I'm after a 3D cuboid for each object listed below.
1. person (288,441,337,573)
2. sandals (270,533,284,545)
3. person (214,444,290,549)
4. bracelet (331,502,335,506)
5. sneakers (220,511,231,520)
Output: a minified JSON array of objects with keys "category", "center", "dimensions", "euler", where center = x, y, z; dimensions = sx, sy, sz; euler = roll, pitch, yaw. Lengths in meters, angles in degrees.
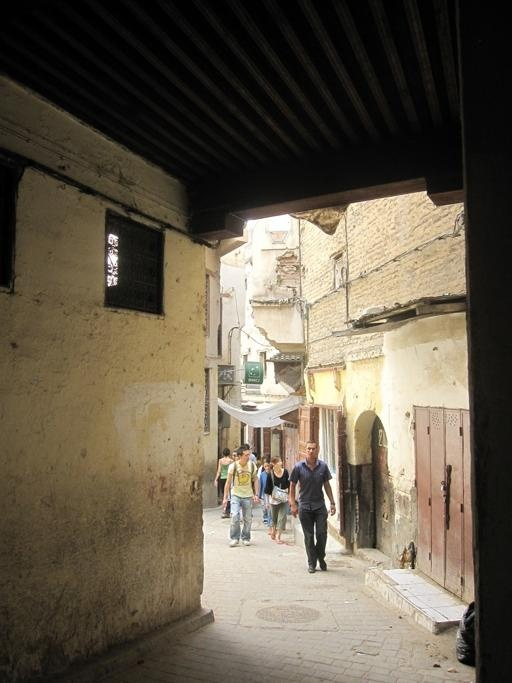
[{"category":"person","center":[0.825,2.451,8.817],"dimensions":[0.668,1.846,0.698],"euler":[1,-8,6]},{"category":"sandals","center":[0.409,3.812,11.375],"dimensions":[0.098,0.180,0.370],"euler":[3,-26,-11]},{"category":"person","center":[-0.265,2.861,11.019],"dimensions":[0.627,1.826,1.015],"euler":[2,-9,-1]},{"category":"bracelet","center":[1.145,2.433,8.843],"dimensions":[0.049,0.046,0.079],"euler":[0,-13,4]},{"category":"sneakers","center":[-0.794,4.425,15.040],"dimensions":[0.101,0.274,0.440],"euler":[-2,-23,11]}]
